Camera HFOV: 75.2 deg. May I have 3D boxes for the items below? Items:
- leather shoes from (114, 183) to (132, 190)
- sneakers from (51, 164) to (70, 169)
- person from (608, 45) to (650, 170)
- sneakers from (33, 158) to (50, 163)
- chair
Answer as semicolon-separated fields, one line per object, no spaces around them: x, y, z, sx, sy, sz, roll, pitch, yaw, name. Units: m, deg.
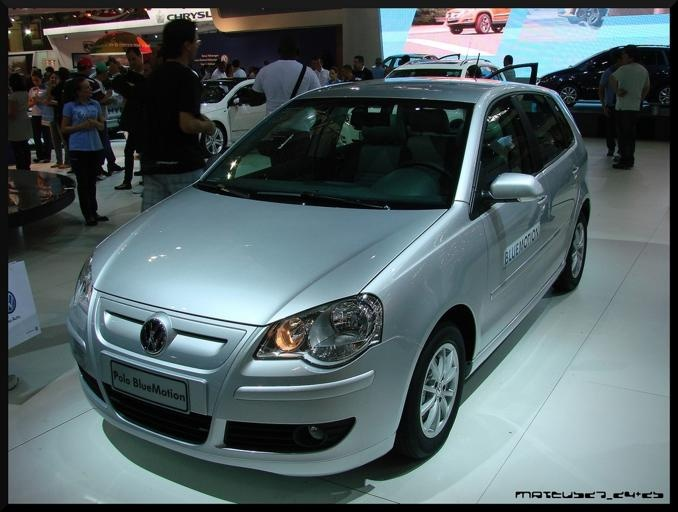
-3.802;-1.206;7.772;0.258;0.109;0.129;4;22;7;leather shoes
-6.110;-1.958;9.734;0.302;0.122;0.113;7;17;12;sneakers
5.751;-2.938;8.824;0.618;2.335;0.757;2;17;13;person
-7.012;-2.248;10.468;0.328;0.142;0.121;-2;22;3;sneakers
0.502;-0.663;2.767;0.390;0.380;0.353;-10;-5;-22;chair
